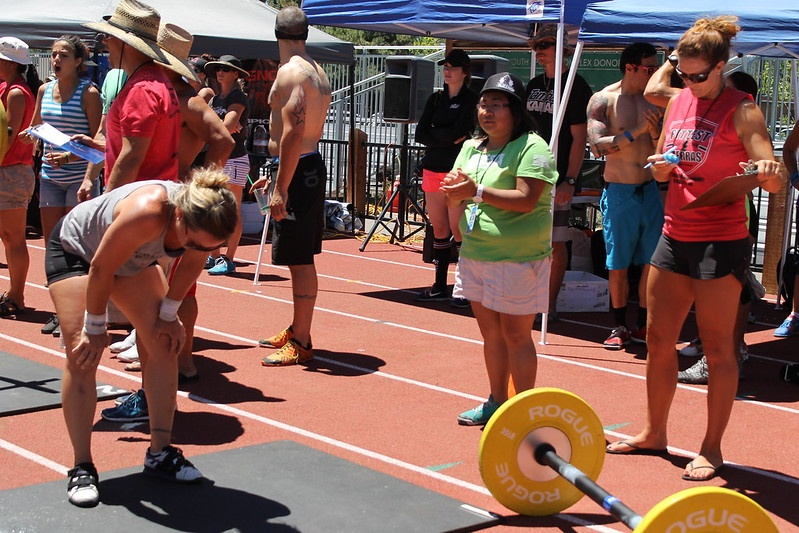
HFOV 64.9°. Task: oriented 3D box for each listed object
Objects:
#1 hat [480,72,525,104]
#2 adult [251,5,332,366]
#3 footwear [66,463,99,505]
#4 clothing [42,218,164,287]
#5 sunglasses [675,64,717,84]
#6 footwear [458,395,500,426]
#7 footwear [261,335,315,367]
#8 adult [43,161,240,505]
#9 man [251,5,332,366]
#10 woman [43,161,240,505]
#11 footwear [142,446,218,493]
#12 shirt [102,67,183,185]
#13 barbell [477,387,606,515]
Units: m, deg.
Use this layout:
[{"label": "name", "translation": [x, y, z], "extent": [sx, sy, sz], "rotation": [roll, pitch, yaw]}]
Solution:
[{"label": "hat", "translation": [0.758, -1.310, 4.540], "extent": [0.309, 0.215, 0.242], "rotation": [5, 11, 7]}, {"label": "adult", "translation": [-1.008, -0.790, 6.143], "extent": [0.623, 3.449, 0.718], "rotation": [1, 11, -11]}, {"label": "footwear", "translation": [-1.820, 1.251, 3.638], "extent": [0.171, 0.187, 0.248], "rotation": [-2, 12, -27]}, {"label": "clothing", "translation": [-1.892, -0.040, 3.911], "extent": [0.537, 0.477, 0.381], "rotation": [4, 4, -11]}, {"label": "sunglasses", "translation": [1.876, -1.247, 4.052], "extent": [0.131, 0.114, 0.249], "rotation": [-5, 13, -36]}, {"label": "footwear", "translation": [0.570, 1.155, 5.059], "extent": [0.471, 0.205, 0.161], "rotation": [0, 5, 13]}, {"label": "footwear", "translation": [-1.074, 0.837, 6.203], "extent": [0.512, 0.218, 0.201], "rotation": [-2, 6, -32]}, {"label": "adult", "translation": [-1.530, 0.370, 3.718], "extent": [1.210, 1.923, 0.674], "rotation": [2, 11, -5]}, {"label": "man", "translation": [-1.013, -0.783, 6.138], "extent": [0.624, 3.438, 0.710], "rotation": [1, 11, -9]}, {"label": "woman", "translation": [-1.531, 0.371, 3.715], "extent": [1.219, 1.923, 0.662], "rotation": [3, 11, -4]}, {"label": "footwear", "translation": [-1.372, 1.238, 3.904], "extent": [0.465, 0.203, 0.202], "rotation": [7, 2, 6]}, {"label": "shirt", "translation": [-1.848, -1.022, 4.621], "extent": [0.504, 0.890, 0.929], "rotation": [5, 19, -7]}, {"label": "barbell", "translation": [0.820, 1.059, 3.688], "extent": [0.772, 0.777, 0.133], "rotation": [-17, 12, -13]}]
